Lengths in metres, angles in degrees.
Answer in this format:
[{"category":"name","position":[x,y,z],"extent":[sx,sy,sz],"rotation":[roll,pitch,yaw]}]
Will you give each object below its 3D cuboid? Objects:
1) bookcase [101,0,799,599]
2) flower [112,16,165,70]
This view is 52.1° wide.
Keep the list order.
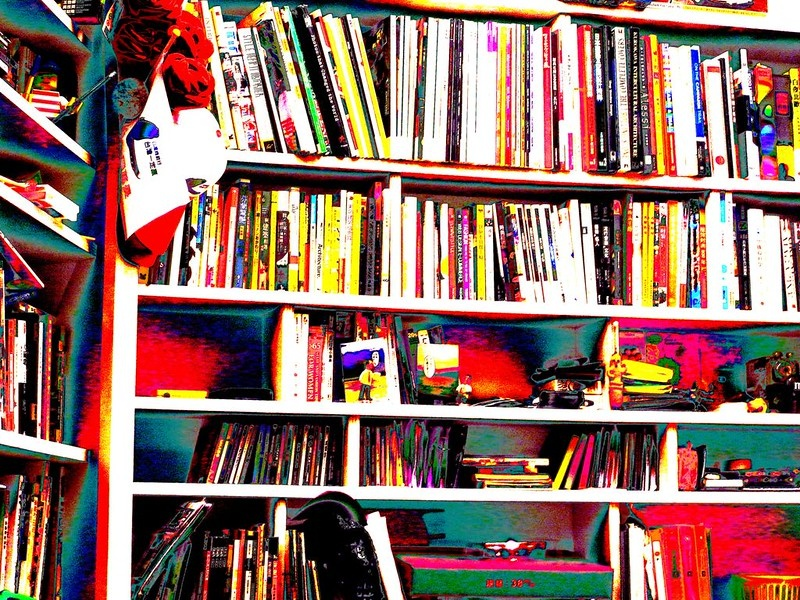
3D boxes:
[{"category":"bookcase","position":[0.109,-0.034,2.436],"extent":[2.065,1.721,0.599],"rotation":[2,-9,-8]},{"category":"flower","position":[-0.699,-0.693,2.196],"extent":[0.139,0.123,0.032],"rotation":[4,18,-7]}]
